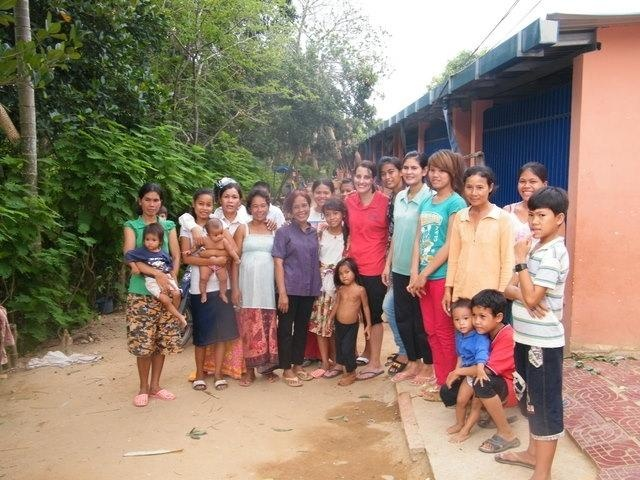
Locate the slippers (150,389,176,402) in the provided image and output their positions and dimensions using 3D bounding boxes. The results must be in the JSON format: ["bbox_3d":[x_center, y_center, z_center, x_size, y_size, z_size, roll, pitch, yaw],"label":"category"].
[{"bbox_3d":[-1.632,1.620,5.230,0.201,0.067,0.107,2,4,15],"label":"slippers"}]

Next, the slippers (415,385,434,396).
[{"bbox_3d":[1.056,1.501,4.967,0.200,0.080,0.074,1,-3,-12],"label":"slippers"}]

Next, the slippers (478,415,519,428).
[{"bbox_3d":[1.539,1.559,4.263,0.365,0.097,0.130,-2,4,-9],"label":"slippers"}]

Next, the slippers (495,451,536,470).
[{"bbox_3d":[1.479,1.638,3.726,0.252,0.067,0.101,1,-2,24],"label":"slippers"}]

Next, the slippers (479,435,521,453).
[{"bbox_3d":[1.422,1.587,3.935,0.313,0.103,0.127,1,-8,-13],"label":"slippers"}]

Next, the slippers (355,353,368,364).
[{"bbox_3d":[0.508,1.426,6.002,0.198,0.122,0.456,-1,-5,5],"label":"slippers"}]

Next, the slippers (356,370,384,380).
[{"bbox_3d":[0.560,1.523,5.682,0.253,0.061,0.112,0,4,-23],"label":"slippers"}]

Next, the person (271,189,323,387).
[{"bbox_3d":[-0.218,0.543,5.700,0.577,2.097,0.737,4,6,33],"label":"person"}]

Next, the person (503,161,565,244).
[{"bbox_3d":[1.973,-0.216,4.724,0.451,0.984,0.315,6,-11,19],"label":"person"}]

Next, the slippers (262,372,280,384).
[{"bbox_3d":[-0.560,1.597,5.768,0.174,0.080,0.086,-9,-5,35],"label":"slippers"}]

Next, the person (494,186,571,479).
[{"bbox_3d":[1.560,0.675,3.550,0.363,2.086,0.542,-5,11,-22],"label":"person"}]

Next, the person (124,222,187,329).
[{"bbox_3d":[-1.549,0.337,4.962,0.678,0.876,0.532,26,25,30],"label":"person"}]

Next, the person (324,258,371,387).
[{"bbox_3d":[0.350,0.897,5.614,0.417,1.393,0.346,-5,11,-26],"label":"person"}]

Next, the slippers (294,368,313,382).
[{"bbox_3d":[-0.185,1.549,5.720,0.110,0.055,0.222,-1,2,-30],"label":"slippers"}]

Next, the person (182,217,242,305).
[{"bbox_3d":[-1.113,0.215,5.307,0.508,0.895,0.404,1,16,-8],"label":"person"}]

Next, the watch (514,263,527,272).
[{"bbox_3d":[1.398,0.188,3.454,0.073,0.053,0.081,11,-24,-16],"label":"watch"}]

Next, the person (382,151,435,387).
[{"bbox_3d":[0.902,0.284,5.242,0.585,2.338,0.595,-2,2,-31],"label":"person"}]

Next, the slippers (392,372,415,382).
[{"bbox_3d":[0.885,1.454,5.321,0.208,0.057,0.089,1,1,-14],"label":"slippers"}]
